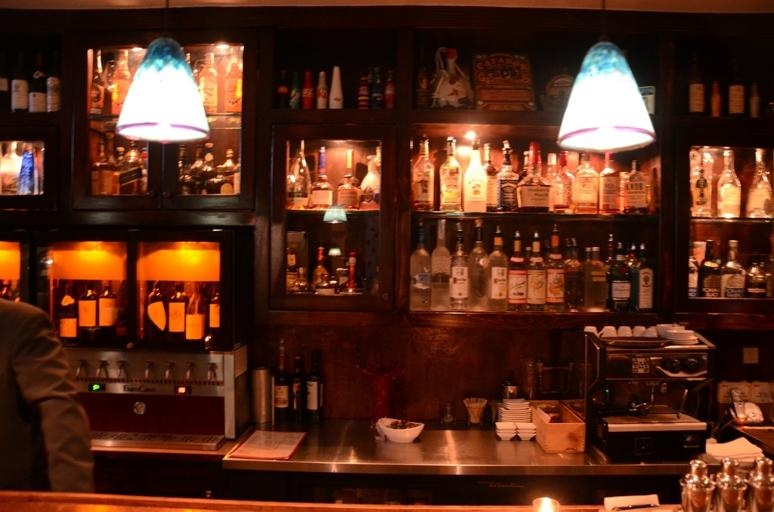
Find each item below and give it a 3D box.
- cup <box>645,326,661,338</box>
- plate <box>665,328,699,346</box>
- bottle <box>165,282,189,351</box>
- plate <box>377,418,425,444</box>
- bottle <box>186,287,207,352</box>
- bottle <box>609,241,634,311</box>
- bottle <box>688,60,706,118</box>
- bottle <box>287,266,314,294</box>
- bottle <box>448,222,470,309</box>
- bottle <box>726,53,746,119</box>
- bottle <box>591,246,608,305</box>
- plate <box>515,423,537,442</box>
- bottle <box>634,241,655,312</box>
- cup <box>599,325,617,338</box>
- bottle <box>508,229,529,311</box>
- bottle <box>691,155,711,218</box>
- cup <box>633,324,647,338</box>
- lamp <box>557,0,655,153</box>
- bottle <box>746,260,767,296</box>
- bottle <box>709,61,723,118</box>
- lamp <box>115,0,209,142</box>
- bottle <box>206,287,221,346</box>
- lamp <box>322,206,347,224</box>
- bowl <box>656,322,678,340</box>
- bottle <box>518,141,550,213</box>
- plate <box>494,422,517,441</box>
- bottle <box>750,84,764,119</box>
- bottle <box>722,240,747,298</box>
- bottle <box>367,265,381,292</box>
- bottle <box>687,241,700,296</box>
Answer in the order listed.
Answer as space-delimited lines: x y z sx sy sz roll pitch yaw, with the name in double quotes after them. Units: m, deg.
1.455 0.411 4.325 0.064 0.031 0.058 -2 3 -24 "cup"
1.597 0.431 4.268 0.180 0.082 0.079 0 1 5 "plate"
-1.176 0.309 4.452 0.111 0.305 0.119 1 1 0 "bottle"
0.073 0.968 4.422 0.266 0.113 0.176 0 1 0 "plate"
-1.065 0.317 4.447 0.110 0.312 0.117 1 1 0 "bottle"
1.338 0.115 4.528 0.132 0.372 0.215 1 1 15 "bottle"
1.749 -0.953 4.465 0.086 0.315 0.153 1 1 20 "bottle"
-0.487 0.127 4.473 0.137 0.146 0.057 0 1 -38 "bottle"
0.426 0.046 4.581 0.112 0.485 0.253 1 1 6 "bottle"
2.007 -0.974 4.535 0.105 0.366 0.268 1 1 23 "bottle"
1.201 0.122 4.477 0.109 0.343 0.064 1 1 -1 "bottle"
0.773 0.968 4.394 0.102 0.051 0.104 1 4 9 "plate"
1.442 0.116 4.505 0.121 0.366 0.183 1 1 0 "bottle"
1.218 0.410 4.345 0.073 0.052 0.067 -1 7 13 "cup"
0.758 0.083 4.573 0.116 0.422 0.249 1 1 9 "bottle"
1.783 -0.407 4.464 0.139 0.360 0.044 0 1 -21 "bottle"
1.378 0.407 4.324 0.063 0.048 0.060 1 5 0 "cup"
0.985 -0.848 3.614 0.396 0.721 0.311 0 1 -15 "lamp"
2.092 0.133 4.468 0.127 0.175 0.085 0 1 -37 "bottle"
1.885 -0.914 4.522 0.064 0.270 0.288 1 1 23 "bottle"
-1.046 -0.793 3.712 0.413 0.485 0.203 0 1 -15 "lamp"
-0.967 0.340 4.435 0.075 0.327 0.092 0 1 -10 "bottle"
-0.291 -0.237 4.486 0.129 0.067 0.116 1 4 11 "lamp"
1.525 0.405 4.270 0.093 0.053 0.083 1 1 8 "bowl"
0.834 -0.450 4.506 0.163 0.375 0.125 0 1 -11 "bottle"
0.669 0.969 4.422 0.112 0.096 0.067 1 1 11 "plate"
2.101 -0.880 4.510 0.052 0.223 0.286 1 1 24 "bottle"
1.962 0.071 4.476 0.123 0.318 0.194 1 1 29 "bottle"
-0.068 0.134 4.431 0.066 0.139 0.041 1 1 6 "bottle"
1.736 0.071 4.442 0.057 0.309 0.168 1 1 28 "bottle"
